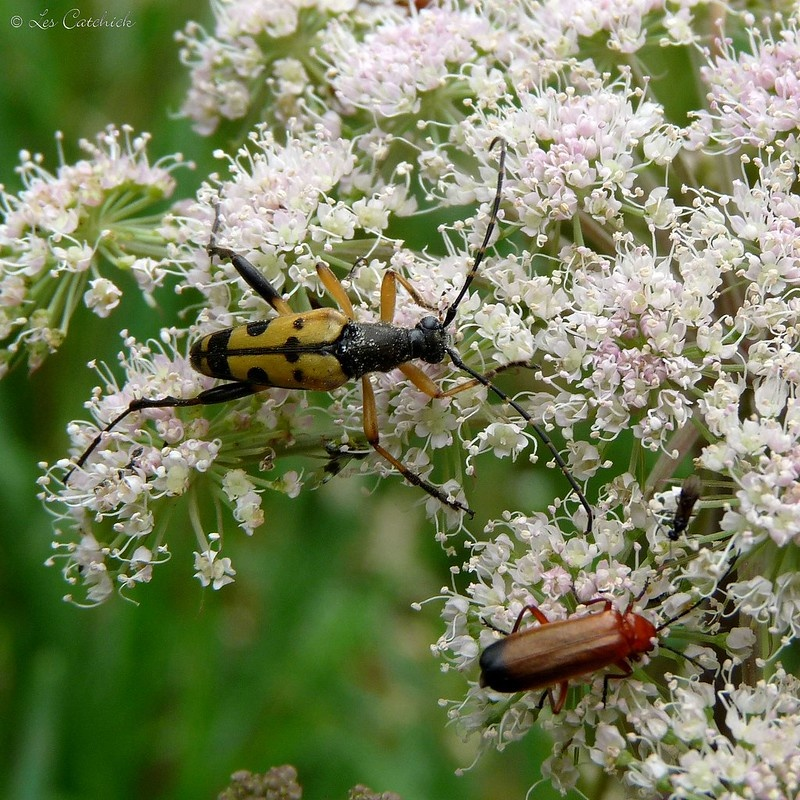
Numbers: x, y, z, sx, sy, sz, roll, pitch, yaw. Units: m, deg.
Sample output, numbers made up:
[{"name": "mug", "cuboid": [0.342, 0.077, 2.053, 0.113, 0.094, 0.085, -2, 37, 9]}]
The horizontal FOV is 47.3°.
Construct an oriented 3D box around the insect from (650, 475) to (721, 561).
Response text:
[{"name": "insect", "cuboid": [0.929, 0.358, 2.975, 0.131, 0.178, 0.131, 0, 10, -17]}]
